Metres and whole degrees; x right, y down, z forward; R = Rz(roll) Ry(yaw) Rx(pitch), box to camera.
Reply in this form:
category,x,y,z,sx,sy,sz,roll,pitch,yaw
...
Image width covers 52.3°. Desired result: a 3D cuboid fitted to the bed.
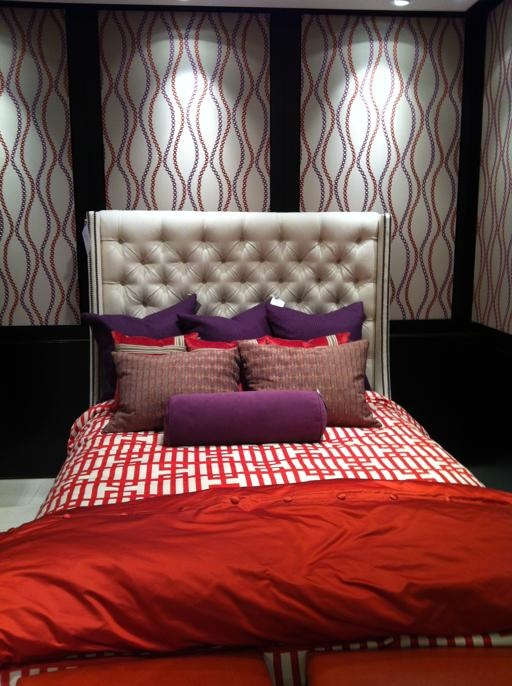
category,x,y,z,sx,sy,sz,roll,pitch,yaw
bed,-0.023,0.388,2.194,1.374,1.289,1.959,-1,38,-2

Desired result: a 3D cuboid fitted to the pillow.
category,x,y,z,sx,sy,sz,roll,pitch,yaw
pillow,-0.100,0.076,2.256,1.232,0.572,0.847,1,3,-4
